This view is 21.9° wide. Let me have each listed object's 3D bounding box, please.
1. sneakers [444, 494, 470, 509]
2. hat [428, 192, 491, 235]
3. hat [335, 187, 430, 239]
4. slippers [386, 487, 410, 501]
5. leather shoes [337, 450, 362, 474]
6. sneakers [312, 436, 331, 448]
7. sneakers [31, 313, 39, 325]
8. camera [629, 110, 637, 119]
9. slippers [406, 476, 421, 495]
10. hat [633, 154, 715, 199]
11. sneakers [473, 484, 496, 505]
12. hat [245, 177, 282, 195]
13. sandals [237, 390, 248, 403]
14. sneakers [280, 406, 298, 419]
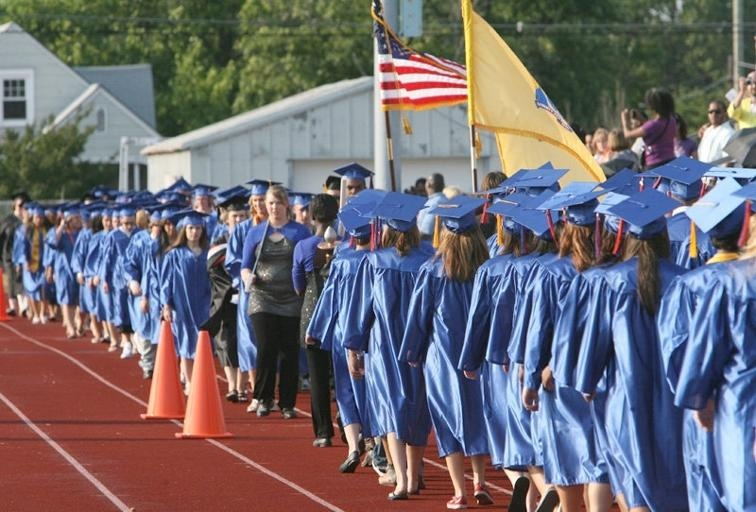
[{"bbox_3d":[1.224,3.863,30.750,0.168,0.159,0.362,-1,2,-10],"label":"sneakers"},{"bbox_3d":[1.262,-0.689,30.521,0.643,0.335,0.645,-11,23,13],"label":"hat"},{"bbox_3d":[0.071,-0.711,31.162,1.293,0.688,0.610,-1,1,26],"label":"hat"},{"bbox_3d":[0.333,3.773,30.922,0.336,0.243,0.157,1,-2,1],"label":"slippers"},{"bbox_3d":[-0.463,3.348,31.792,0.205,0.482,0.193,43,32,22],"label":"leather shoes"},{"bbox_3d":[-0.926,3.120,32.801,0.130,0.147,0.306,-5,6,-26],"label":"sneakers"},{"bbox_3d":[-8.002,1.491,45.505,0.206,0.222,0.205,2,-8,-7],"label":"sneakers"},{"bbox_3d":[4.619,-2.530,35.342,0.143,0.154,0.140,-5,10,-40],"label":"camera"},{"bbox_3d":[0.596,3.641,31.075,0.105,0.260,0.312,0,1,35],"label":"slippers"},{"bbox_3d":[4.796,-1.219,30.811,0.812,0.404,0.766,-33,43,-32],"label":"hat"},{"bbox_3d":[1.649,3.725,30.620,0.181,0.194,0.422,-9,-28,16],"label":"sneakers"},{"bbox_3d":[-2.119,-1.231,35.173,0.543,0.315,0.646,1,6,4],"label":"hat"},{"bbox_3d":[-2.464,2.538,35.308,0.179,0.231,0.540,1,3,-1],"label":"sandals"},{"bbox_3d":[-1.581,2.745,34.215,0.215,0.121,0.339,1,0,-6],"label":"sneakers"}]
